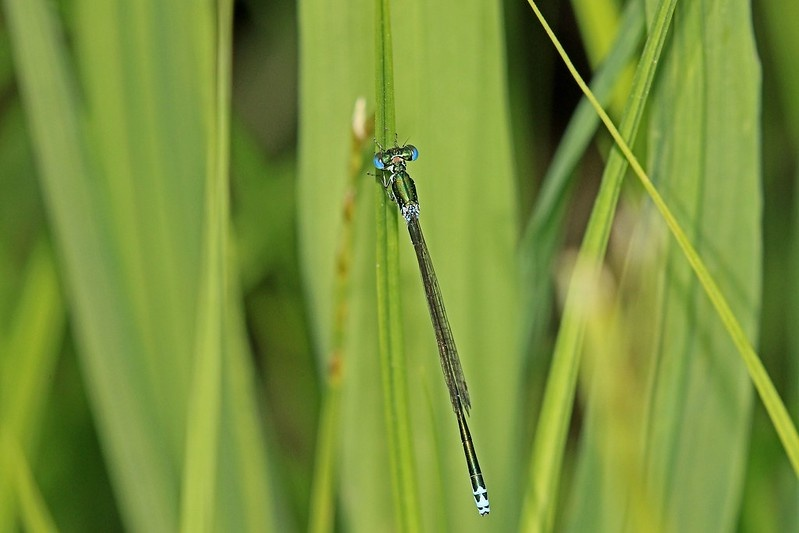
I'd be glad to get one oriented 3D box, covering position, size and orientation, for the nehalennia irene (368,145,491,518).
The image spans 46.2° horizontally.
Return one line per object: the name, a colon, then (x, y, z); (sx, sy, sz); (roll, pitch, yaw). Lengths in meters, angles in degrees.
nehalennia irene: (0.039, 0.080, 1.167); (0.115, 0.466, 0.039); (-1, -10, -23)
